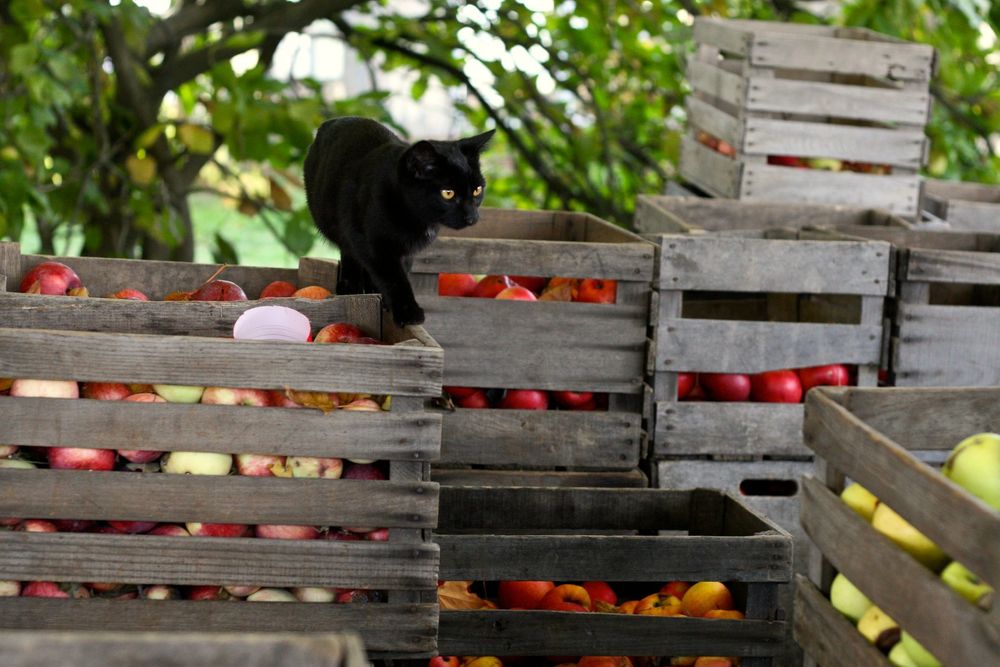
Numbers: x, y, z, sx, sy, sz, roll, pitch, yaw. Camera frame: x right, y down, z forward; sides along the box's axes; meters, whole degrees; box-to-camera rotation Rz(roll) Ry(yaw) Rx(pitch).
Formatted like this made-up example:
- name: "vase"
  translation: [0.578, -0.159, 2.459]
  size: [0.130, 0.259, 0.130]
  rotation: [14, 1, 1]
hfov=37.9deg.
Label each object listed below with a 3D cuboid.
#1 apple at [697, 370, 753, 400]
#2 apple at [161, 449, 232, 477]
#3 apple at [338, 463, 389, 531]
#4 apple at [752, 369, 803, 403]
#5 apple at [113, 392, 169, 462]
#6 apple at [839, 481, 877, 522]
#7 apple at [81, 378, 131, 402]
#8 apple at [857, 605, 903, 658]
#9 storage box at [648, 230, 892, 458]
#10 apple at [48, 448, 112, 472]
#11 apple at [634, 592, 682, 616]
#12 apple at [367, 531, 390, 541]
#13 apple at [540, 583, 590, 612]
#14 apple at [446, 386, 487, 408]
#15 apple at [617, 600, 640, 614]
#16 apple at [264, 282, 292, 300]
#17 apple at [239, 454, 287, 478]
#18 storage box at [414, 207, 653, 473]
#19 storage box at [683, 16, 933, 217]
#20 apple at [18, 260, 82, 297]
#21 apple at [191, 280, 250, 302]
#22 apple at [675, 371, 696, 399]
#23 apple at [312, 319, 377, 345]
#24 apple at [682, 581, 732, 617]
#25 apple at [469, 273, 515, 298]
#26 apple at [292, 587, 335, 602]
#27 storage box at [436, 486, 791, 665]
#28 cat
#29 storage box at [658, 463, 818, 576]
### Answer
- name: "apple"
  translation: [0.802, 0.191, 5.239]
  size: [0.136, 0.075, 0.103]
  rotation: [-1, -5, 35]
- name: "apple"
  translation: [-0.859, 0.360, 4.137]
  size: [0.122, 0.068, 0.091]
  rotation: [0, 10, -45]
- name: "apple"
  translation: [-0.400, 0.484, 4.220]
  size: [0.183, 0.214, 0.175]
  rotation: [1, -17, -11]
- name: "apple"
  translation: [1.004, 0.184, 5.273]
  size: [0.132, 0.126, 0.129]
  rotation: [-13, -1, -7]
- name: "apple"
  translation: [-1.018, 0.267, 4.146]
  size: [0.179, 0.207, 0.177]
  rotation: [0, 6, 0]
- name: "apple"
  translation: [1.004, 0.470, 4.057]
  size: [0.095, 0.084, 0.093]
  rotation: [6, 15, -9]
- name: "apple"
  translation: [-1.140, 0.166, 4.167]
  size: [0.081, 0.044, 0.068]
  rotation: [-1, -1, 15]
- name: "apple"
  translation: [1.029, 0.809, 3.968]
  size: [0.054, 0.105, 0.122]
  rotation: [-11, 18, -32]
- name: "storage box"
  translation: [0.942, -0.014, 5.335]
  size: [0.837, 0.713, 0.836]
  rotation: [0, 7, -1]
- name: "apple"
  translation: [-1.186, 0.362, 4.116]
  size: [0.112, 0.061, 0.085]
  rotation: [5, -13, -15]
- name: "apple"
  translation: [0.502, 0.860, 4.606]
  size: [0.077, 0.075, 0.076]
  rotation: [-14, -38, -14]
- name: "apple"
  translation: [-0.353, 0.583, 4.197]
  size: [0.037, 0.023, 0.033]
  rotation: [2, 3, 36]
- name: "apple"
  translation: [0.209, 0.840, 4.616]
  size: [0.093, 0.088, 0.091]
  rotation: [9, 11, 29]
- name: "apple"
  translation: [-0.110, 0.230, 5.107]
  size: [0.100, 0.045, 0.079]
  rotation: [5, 4, 43]
- name: "apple"
  translation: [0.413, 0.881, 4.683]
  size: [0.034, 0.018, 0.044]
  rotation: [-9, 0, 37]
- name: "apple"
  translation: [-0.724, -0.131, 4.741]
  size: [0.060, 0.041, 0.074]
  rotation: [-3, 1, -6]
- name: "apple"
  translation: [-0.680, 0.390, 4.133]
  size: [0.079, 0.031, 0.079]
  rotation: [-14, -23, 36]
- name: "storage box"
  translation: [0.136, -0.019, 5.289]
  size: [0.825, 0.540, 0.834]
  rotation: [1, 16, 0]
- name: "storage box"
  translation: [1.303, -0.880, 6.426]
  size: [0.937, 0.685, 0.936]
  rotation: [5, 6, -3]
- name: "apple"
  translation: [-1.399, -0.159, 4.513]
  size: [0.128, 0.121, 0.124]
  rotation: [0, -21, -37]
- name: "apple"
  translation: [-0.875, -0.116, 4.539]
  size: [0.108, 0.062, 0.086]
  rotation: [0, 2, 32]
- name: "apple"
  translation: [0.668, 0.193, 5.241]
  size: [0.091, 0.106, 0.087]
  rotation: [3, -7, -23]
- name: "apple"
  translation: [-0.466, 0.010, 4.351]
  size: [0.107, 0.057, 0.090]
  rotation: [10, 1, 18]
- name: "apple"
  translation: [0.643, 0.835, 4.580]
  size: [0.143, 0.113, 0.124]
  rotation: [-17, -33, 31]
- name: "apple"
  translation: [-0.032, -0.161, 5.143]
  size: [0.094, 0.110, 0.096]
  rotation: [-2, 11, 12]
- name: "apple"
  translation: [-0.532, 0.754, 4.189]
  size: [0.069, 0.038, 0.055]
  rotation: [4, -13, 39]
- name: "storage box"
  translation: [0.351, 0.764, 4.665]
  size: [1.102, 0.484, 0.537]
  rotation: [-1, 15, -2]
- name: "cat"
  translation: [-0.401, -0.408, 4.853]
  size: [0.363, 0.668, 0.963]
  rotation: [-10, 24, -35]
- name: "storage box"
  translation: [0.830, 0.598, 5.168]
  size: [0.473, 0.288, 0.466]
  rotation: [1, 6, -5]
